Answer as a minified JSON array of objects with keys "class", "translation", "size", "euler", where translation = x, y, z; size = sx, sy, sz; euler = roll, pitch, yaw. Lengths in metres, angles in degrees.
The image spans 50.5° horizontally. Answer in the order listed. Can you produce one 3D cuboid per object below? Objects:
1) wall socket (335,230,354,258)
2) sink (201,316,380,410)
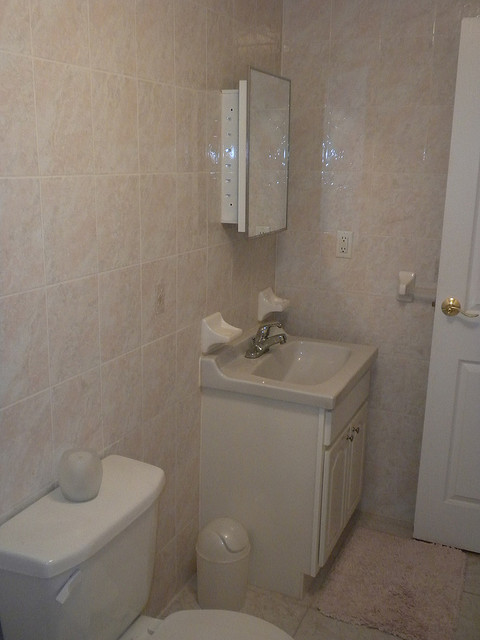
[{"class":"wall socket","translation":[0.442,-0.323,2.137],"size":[0.060,0.145,0.012],"euler":[13,22,33]},{"class":"sink","translation":[0.214,0.150,1.909],"size":[0.507,0.264,0.722],"euler":[5,11,27]}]
